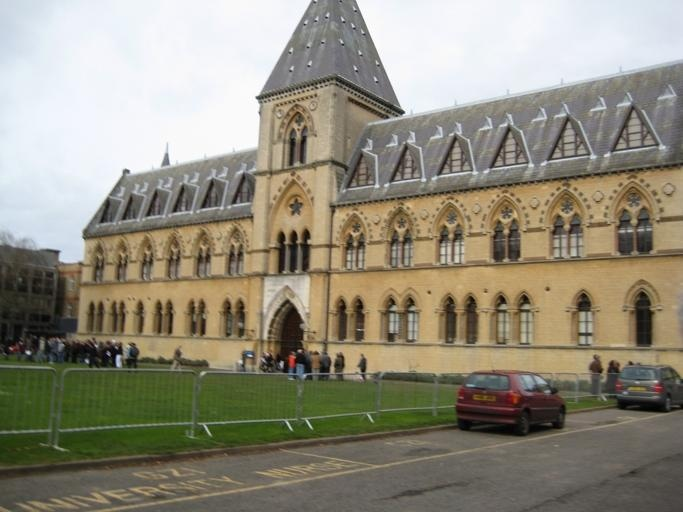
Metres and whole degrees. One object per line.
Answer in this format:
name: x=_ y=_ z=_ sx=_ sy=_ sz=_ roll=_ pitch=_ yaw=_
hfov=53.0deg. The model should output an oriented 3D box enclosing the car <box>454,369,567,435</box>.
car: x=5.742 y=4.602 z=21.759 sx=3.880 sy=1.956 sz=2.070 roll=4 pitch=-4 yaw=-28
